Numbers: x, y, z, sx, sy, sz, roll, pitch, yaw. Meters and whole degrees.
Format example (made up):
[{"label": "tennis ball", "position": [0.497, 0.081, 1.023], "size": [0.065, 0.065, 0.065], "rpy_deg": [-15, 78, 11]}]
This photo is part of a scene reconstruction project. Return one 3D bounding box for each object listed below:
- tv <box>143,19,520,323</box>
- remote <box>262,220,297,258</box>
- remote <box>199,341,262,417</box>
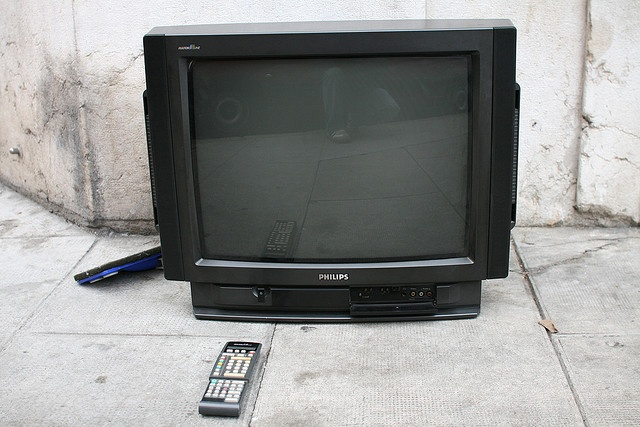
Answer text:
[{"label": "tv", "position": [0.042, -0.422, 3.067], "size": [2.145, 1.348, 1.258], "rpy_deg": [-3, 29, 2]}, {"label": "remote", "position": [-0.178, 0.110, 2.493], "size": [0.128, 0.172, 0.044], "rpy_deg": [5, 12, 2]}, {"label": "remote", "position": [-0.370, 0.672, 2.254], "size": [0.177, 0.070, 0.338], "rpy_deg": [3, 34, 12]}]
